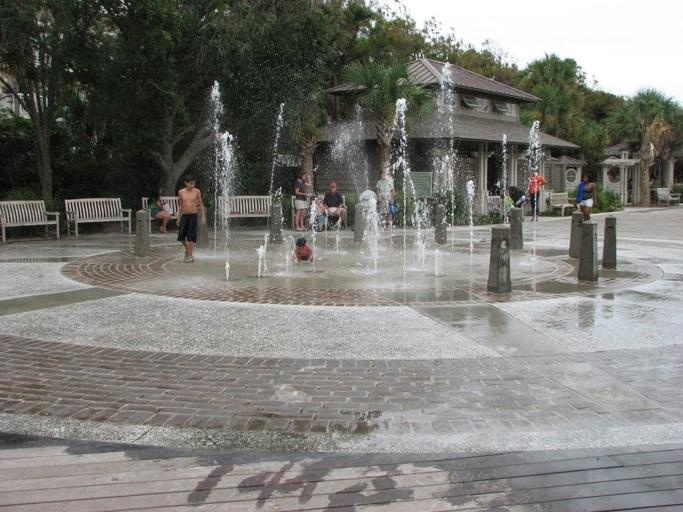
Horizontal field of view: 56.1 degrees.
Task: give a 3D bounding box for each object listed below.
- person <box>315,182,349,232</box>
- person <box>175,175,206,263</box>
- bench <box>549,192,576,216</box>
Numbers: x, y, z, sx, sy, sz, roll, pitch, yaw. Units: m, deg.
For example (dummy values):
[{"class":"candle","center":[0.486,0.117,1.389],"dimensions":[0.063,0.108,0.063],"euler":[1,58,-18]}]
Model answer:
[{"class":"person","center":[-0.405,-1.875,23.177],"dimensions":[1.002,1.563,1.026],"euler":[-2,9,-11]},{"class":"person","center":[-3.570,-0.921,15.027],"dimensions":[0.579,1.952,1.161],"euler":[-1,8,-14]},{"class":"bench","center":[11.817,-2.895,34.508],"dimensions":[1.108,1.187,2.300],"euler":[4,8,24]}]
